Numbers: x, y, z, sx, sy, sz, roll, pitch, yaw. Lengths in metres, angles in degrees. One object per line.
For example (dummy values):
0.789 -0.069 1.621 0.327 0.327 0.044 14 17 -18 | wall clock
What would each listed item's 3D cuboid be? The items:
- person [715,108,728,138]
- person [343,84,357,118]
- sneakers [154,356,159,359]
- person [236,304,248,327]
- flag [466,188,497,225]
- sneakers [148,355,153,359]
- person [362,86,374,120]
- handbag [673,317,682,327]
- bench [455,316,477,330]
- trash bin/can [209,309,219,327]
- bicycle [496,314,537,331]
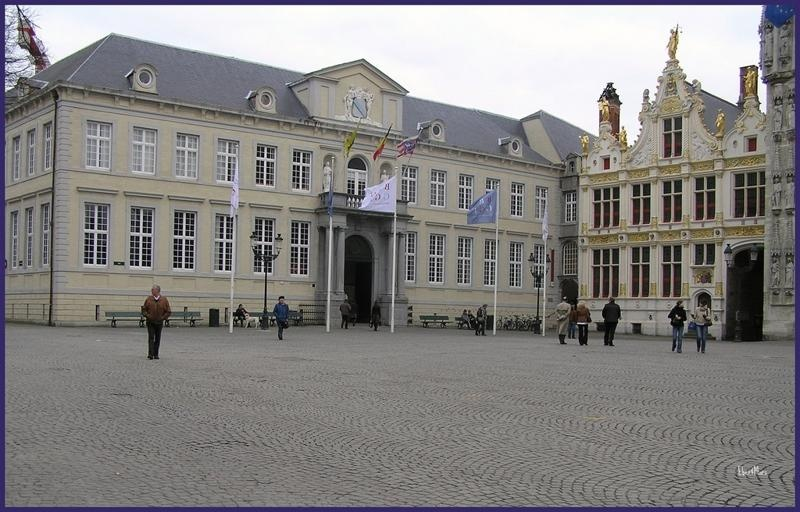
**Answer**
19.701 -8.093 56.104 0.503 1.511 2.396 4 5 17 | person
-3.163 -9.834 57.863 0.350 1.992 0.869 7 7 42 | person
-7.591 3.127 28.362 0.116 0.043 0.140 4 2 -14 | sneakers
-8.834 3.241 50.674 0.717 1.435 2.977 1 5 -10 | person
4.406 -2.669 48.435 1.440 1.749 1.291 2 5 1 | flag
-7.746 3.118 28.282 0.161 0.148 0.093 3 -2 -17 | sneakers
-2.346 -9.797 58.450 0.403 2.004 1.438 6 6 39 | person
11.173 2.658 36.828 0.411 0.358 0.305 -1 -15 6 | handbag
4.380 4.254 58.591 0.808 0.573 1.066 3 2 33 | bench
-9.973 3.289 48.820 0.473 0.946 0.746 0 5 -21 | trash bin/can
8.004 4.596 63.483 2.449 1.318 1.160 0 -10 7 | bicycle
